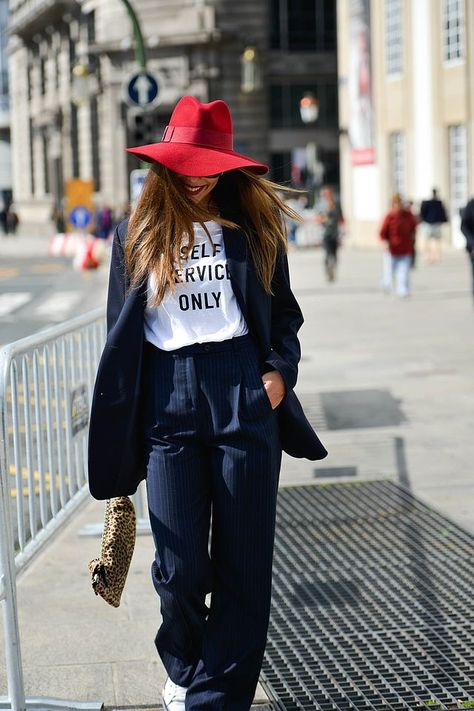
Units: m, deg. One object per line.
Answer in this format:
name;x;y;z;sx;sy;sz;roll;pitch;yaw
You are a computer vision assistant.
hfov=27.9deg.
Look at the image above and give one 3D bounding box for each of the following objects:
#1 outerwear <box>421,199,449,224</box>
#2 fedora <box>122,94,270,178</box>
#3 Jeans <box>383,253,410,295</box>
outerwear;0.891;-0.670;4.397;0.086;0.118;0.201;-9;10;-24
fedora;-0.095;-0.561;2.470;0.374;0.212;0.383;4;6;3
Jeans;0.772;-0.405;4.641;0.084;0.205;0.328;-6;10;-8
